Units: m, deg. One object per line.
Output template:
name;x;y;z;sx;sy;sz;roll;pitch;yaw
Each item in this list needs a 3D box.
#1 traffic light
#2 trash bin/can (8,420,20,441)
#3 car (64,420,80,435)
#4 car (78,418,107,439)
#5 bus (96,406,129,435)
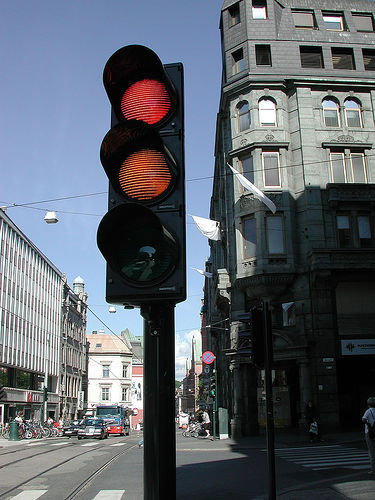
traffic light;-0.234;-0.418;2.977;0.466;1.428;0.450;-7;-17;10
trash bin/can;-9.473;9.701;31.203;0.789;1.437;0.810;3;-19;-16
car;-7.137;10.882;35.787;0.988;0.773;1.778;-1;-24;0
car;-5.232;9.909;32.027;0.910;0.693;1.593;0;-31;-1
bus;-5.362;11.997;40.571;1.834;2.042;3.518;-3;-28;1
